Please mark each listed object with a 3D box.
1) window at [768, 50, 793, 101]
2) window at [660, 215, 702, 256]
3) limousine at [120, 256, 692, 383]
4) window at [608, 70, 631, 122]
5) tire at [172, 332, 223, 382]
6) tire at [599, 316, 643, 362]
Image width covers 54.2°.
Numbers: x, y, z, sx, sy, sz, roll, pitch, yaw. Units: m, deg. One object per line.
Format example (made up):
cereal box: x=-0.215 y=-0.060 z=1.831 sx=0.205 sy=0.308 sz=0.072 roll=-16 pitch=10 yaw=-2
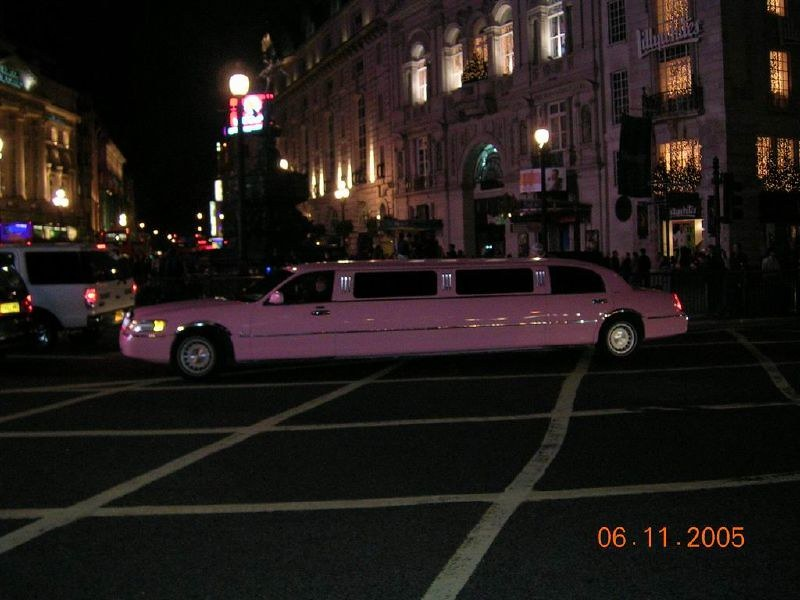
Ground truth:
window: x=16.696 y=-9.924 z=34.318 sx=1.429 sy=2.181 sz=0.424 roll=-5 pitch=6 yaw=-39
window: x=12.068 y=-2.779 z=33.393 sx=0.927 sy=1.884 sz=1.797 roll=-3 pitch=7 yaw=-23
limousine: x=0.318 y=0.305 z=15.135 sx=10.369 sy=2.625 sz=3.626 roll=1 pitch=-4 yaw=-9
window: x=10.436 y=-9.586 z=36.751 sx=0.119 sy=2.437 sz=0.910 roll=-9 pitch=7 yaw=-39
tire: x=-3.507 y=1.007 z=13.611 sx=0.763 sy=0.843 sz=0.724 roll=1 pitch=5 yaw=2
tire: x=4.095 y=0.706 z=14.623 sx=0.689 sy=0.840 sz=0.270 roll=-1 pitch=1 yaw=-5
